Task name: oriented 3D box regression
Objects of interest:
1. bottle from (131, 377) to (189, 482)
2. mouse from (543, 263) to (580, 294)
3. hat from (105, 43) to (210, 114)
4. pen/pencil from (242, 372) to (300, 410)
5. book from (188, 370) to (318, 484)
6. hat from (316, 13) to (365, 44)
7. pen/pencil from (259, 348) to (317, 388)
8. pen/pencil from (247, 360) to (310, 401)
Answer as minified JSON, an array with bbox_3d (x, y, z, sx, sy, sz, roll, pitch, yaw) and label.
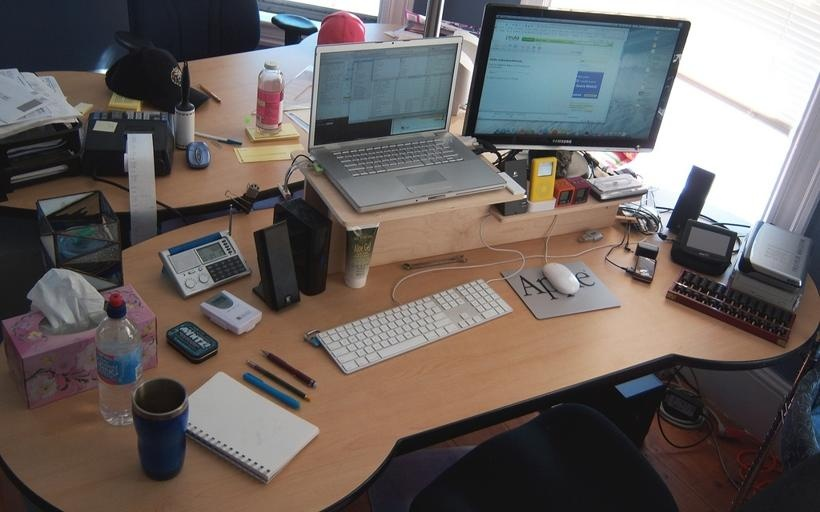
[{"bbox_3d":[-0.699,0.504,1.644,0.155,0.225,0.151,3,11,0],"label":"bottle"},{"bbox_3d":[0.578,0.088,2.266,0.096,0.041,0.162,-22,30,-18],"label":"mouse"},{"bbox_3d":[-1.208,-0.830,2.758,0.392,0.187,0.259,18,43,10],"label":"hat"},{"bbox_3d":[-0.436,0.424,1.823,0.151,0.029,0.026,30,-11,7],"label":"pen/pencil"},{"bbox_3d":[-0.491,0.508,1.741,0.389,0.114,0.197,18,36,19],"label":"book"},{"bbox_3d":[-0.362,-1.223,3.185,0.216,0.160,0.308,6,25,-6],"label":"hat"},{"bbox_3d":[-0.398,0.365,1.879,0.171,0.022,0.021,35,5,16],"label":"pen/pencil"},{"bbox_3d":[-0.420,0.398,1.847,0.179,0.018,0.020,34,8,4],"label":"pen/pencil"}]
